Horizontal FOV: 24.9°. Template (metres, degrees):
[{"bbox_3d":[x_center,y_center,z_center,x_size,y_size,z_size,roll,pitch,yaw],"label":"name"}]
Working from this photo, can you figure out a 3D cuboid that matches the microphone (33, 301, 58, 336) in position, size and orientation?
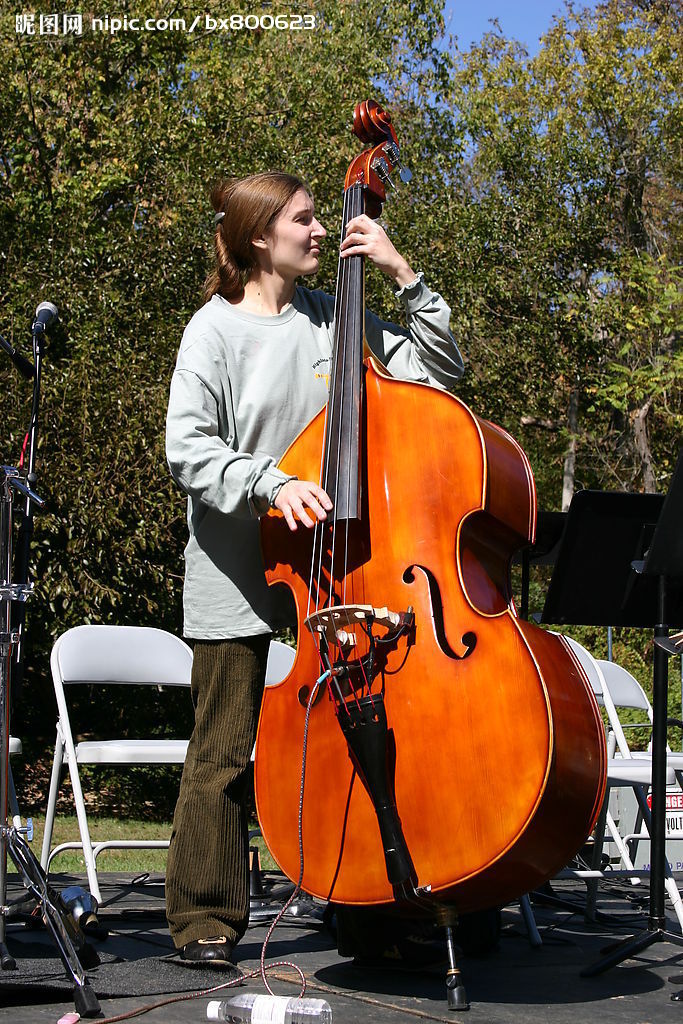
[{"bbox_3d":[-0.830,-0.533,4.258,0.049,0.046,0.145,16,21,-5],"label":"microphone"}]

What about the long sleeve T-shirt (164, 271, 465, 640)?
[{"bbox_3d":[-0.200,-0.223,3.847,0.612,1.057,0.338,1,-7,-7],"label":"long sleeve T-shirt"}]

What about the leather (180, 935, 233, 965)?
[{"bbox_3d":[-0.318,1.036,3.615,0.097,0.059,0.038,-1,-17,27],"label":"leather"}]

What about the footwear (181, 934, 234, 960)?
[{"bbox_3d":[-0.315,1.031,3.623,0.094,0.031,0.057,-5,5,-19],"label":"footwear"}]

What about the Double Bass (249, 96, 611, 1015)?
[{"bbox_3d":[0.169,0.150,3.436,0.829,1.433,0.499,7,8,41],"label":"Double Bass"}]
